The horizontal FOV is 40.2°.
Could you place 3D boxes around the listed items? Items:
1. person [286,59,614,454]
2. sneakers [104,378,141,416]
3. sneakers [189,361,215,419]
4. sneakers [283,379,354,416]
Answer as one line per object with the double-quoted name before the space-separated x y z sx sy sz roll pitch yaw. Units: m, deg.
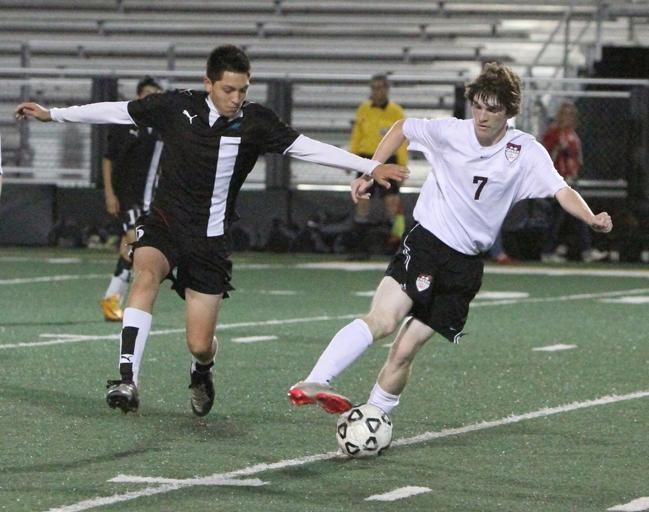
"person" 0.609 -0.079 4.503 1.376 1.826 0.784 2 5 -15
"sneakers" -0.984 0.691 4.285 0.143 0.190 0.220 2 5 -15
"sneakers" -0.669 0.721 4.828 0.108 0.335 0.125 -2 3 -7
"sneakers" -0.020 0.672 4.113 0.337 0.126 0.165 13 42 1
